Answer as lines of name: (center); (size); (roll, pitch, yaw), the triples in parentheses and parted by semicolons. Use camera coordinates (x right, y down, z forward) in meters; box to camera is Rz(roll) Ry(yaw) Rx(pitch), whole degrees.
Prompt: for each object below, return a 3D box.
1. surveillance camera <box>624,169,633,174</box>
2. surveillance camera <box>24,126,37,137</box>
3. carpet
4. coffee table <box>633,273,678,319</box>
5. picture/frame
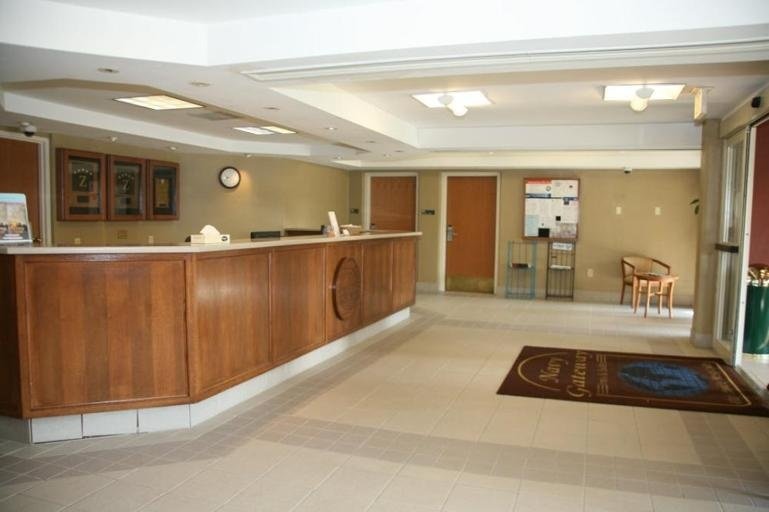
surveillance camera: (4.807, -1.672, 9.976); (0.164, 0.106, 0.311); (5, 12, 24)
surveillance camera: (-4.502, -1.575, 6.422); (0.147, 0.119, 0.155); (2, 24, -27)
carpet: (2.809, 1.376, 5.921); (2.647, 0.096, 1.804); (2, 11, 12)
coffee table: (4.998, 0.683, 9.435); (1.001, 0.816, 0.954); (2, 0, -38)
picture/frame: (-4.053, -1.054, 7.519); (0.140, 0.593, 1.381); (3, 4, 34)
